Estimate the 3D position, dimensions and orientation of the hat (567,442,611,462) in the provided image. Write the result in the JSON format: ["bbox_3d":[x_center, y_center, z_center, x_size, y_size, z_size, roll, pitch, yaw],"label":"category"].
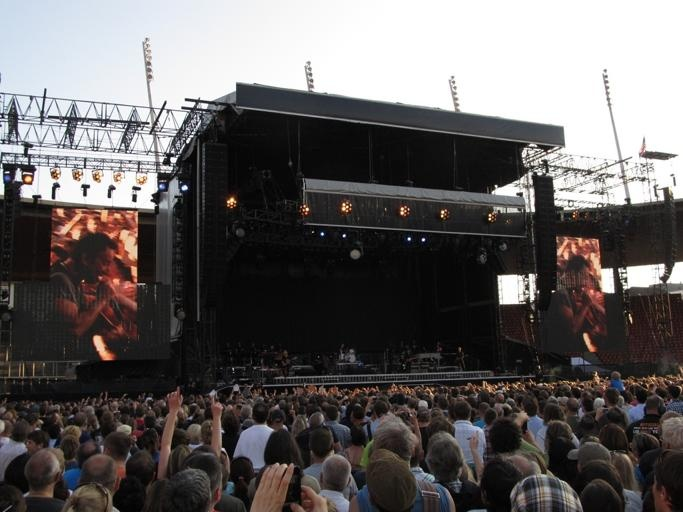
[{"bbox_3d":[3.243,2.585,10.321,0.278,0.223,0.381,8,-10,-39],"label":"hat"}]
